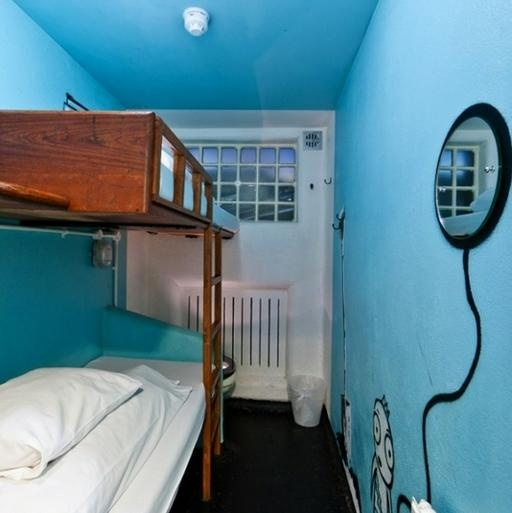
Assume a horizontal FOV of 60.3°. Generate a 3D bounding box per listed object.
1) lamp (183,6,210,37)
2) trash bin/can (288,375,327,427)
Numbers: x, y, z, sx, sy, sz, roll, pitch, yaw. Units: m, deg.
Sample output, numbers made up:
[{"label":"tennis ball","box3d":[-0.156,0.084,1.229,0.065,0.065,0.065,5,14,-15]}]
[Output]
[{"label":"lamp","box3d":[-0.305,-1.214,2.289,0.137,0.099,0.154,-1,9,-10]},{"label":"trash bin/can","box3d":[0.408,1.114,3.524,0.309,0.318,0.394,1,8,7]}]
